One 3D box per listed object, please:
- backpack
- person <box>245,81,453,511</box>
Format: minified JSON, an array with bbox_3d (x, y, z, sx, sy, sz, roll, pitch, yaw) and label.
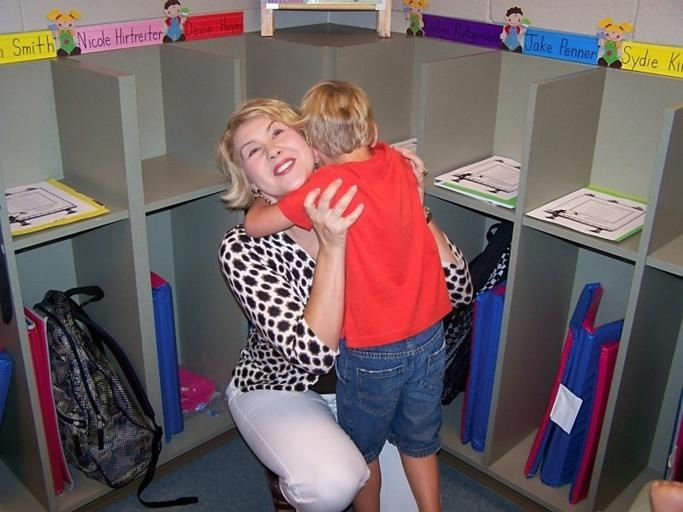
[{"bbox_3d":[-0.821,0.509,1.819,0.337,0.736,0.446,-12,22,-36],"label":"backpack"},{"bbox_3d":[0.050,0.204,1.474,0.548,1.318,0.297,6,18,15],"label":"person"}]
